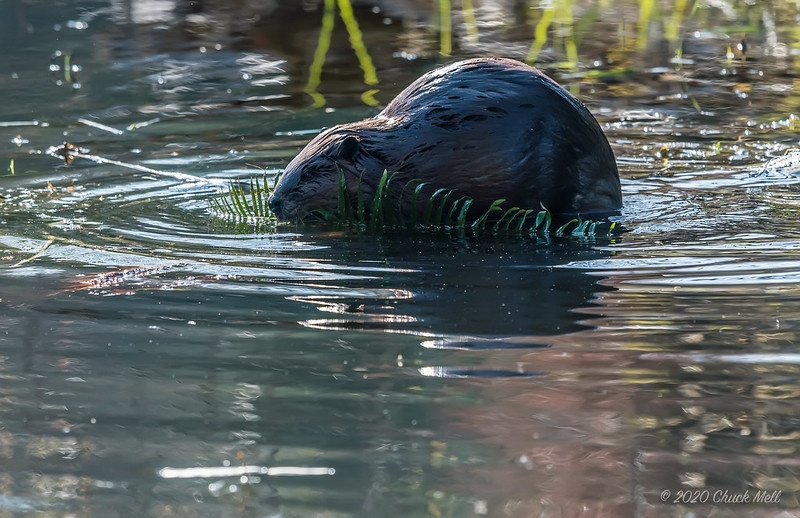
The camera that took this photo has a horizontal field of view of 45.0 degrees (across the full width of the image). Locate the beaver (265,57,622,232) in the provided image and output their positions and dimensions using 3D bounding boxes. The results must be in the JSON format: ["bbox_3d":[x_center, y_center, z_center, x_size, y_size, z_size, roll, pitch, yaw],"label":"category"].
[{"bbox_3d":[0.361,-0.812,6.536,2.265,1.134,0.557,2,6,6],"label":"beaver"}]
